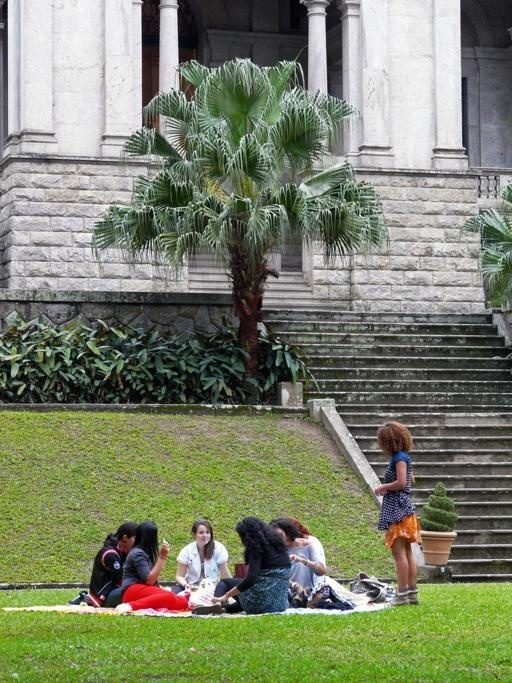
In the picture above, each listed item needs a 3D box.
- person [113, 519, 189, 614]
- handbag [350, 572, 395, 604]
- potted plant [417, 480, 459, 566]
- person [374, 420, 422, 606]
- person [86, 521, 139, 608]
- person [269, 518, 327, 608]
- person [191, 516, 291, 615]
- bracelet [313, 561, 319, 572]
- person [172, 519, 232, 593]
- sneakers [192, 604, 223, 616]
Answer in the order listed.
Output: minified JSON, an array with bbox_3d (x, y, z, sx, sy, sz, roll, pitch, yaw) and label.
[{"bbox_3d":[-0.946,2.086,17.153,0.612,0.825,0.386,0,4,-6],"label":"person"},{"bbox_3d":[1.115,2.368,17.816,0.218,0.140,0.334,2,11,-28],"label":"handbag"},{"bbox_3d":[1.909,1.939,19.734,0.384,0.910,0.347,1,4,11],"label":"potted plant"},{"bbox_3d":[1.295,1.591,17.144,0.415,1.694,0.502,1,4,5],"label":"person"},{"bbox_3d":[-1.320,2.204,17.620,0.529,1.013,0.374,7,6,14],"label":"person"},{"bbox_3d":[0.365,2.101,17.624,0.468,0.872,0.463,-14,-10,29],"label":"person"},{"bbox_3d":[-0.080,2.059,17.169,0.882,1.063,0.747,0,-5,29],"label":"person"},{"bbox_3d":[0.551,2.125,17.524,0.057,0.093,0.048,0,4,2],"label":"bracelet"},{"bbox_3d":[-0.514,2.089,17.908,0.661,0.849,0.580,0,10,-5],"label":"person"},{"bbox_3d":[-0.451,2.456,16.992,0.274,0.104,0.118,2,39,-7],"label":"sneakers"}]
